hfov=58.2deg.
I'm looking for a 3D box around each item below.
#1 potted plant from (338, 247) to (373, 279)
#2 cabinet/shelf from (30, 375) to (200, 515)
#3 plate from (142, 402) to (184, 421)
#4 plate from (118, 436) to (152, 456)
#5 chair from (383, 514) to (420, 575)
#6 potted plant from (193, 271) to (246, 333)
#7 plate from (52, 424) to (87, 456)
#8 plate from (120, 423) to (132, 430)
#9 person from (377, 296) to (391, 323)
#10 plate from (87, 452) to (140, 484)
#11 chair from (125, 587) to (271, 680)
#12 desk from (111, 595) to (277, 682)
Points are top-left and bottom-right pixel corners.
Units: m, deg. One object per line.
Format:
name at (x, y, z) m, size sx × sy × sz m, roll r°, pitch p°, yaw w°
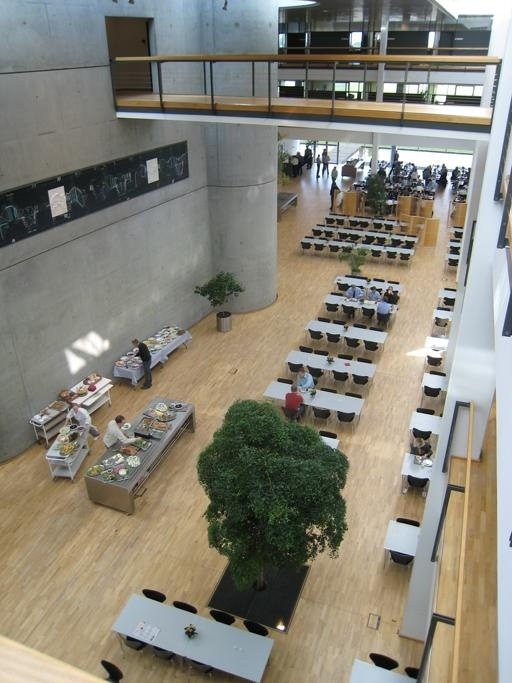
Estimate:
potted plant at (3.967, -3.042, 18.198) m, size 1.155 × 1.220 × 0.992 m, roll 8°, pitch 43°, yaw 14°
cabinet/shelf at (-2.542, 2.082, 9.403) m, size 2.041 × 1.005 × 2.183 m, roll 14°, pitch 42°, yaw 14°
plate at (-2.040, 1.551, 10.149) m, size 0.469 × 0.108 × 0.507 m, roll 9°, pitch 30°, yaw 13°
plate at (-2.436, 2.106, 9.234) m, size 0.436 × 0.124 × 0.602 m, roll 18°, pitch 35°, yaw 35°
chair at (2.508, 3.402, 7.930) m, size 0.728 × 0.898 × 0.826 m, roll 8°, pitch 59°, yaw 12°
potted plant at (-1.050, -1.273, 14.355) m, size 1.361 × 1.938 × 1.736 m, roll -16°, pitch 32°, yaw -23°
plate at (-3.877, 2.044, 9.579) m, size 0.431 × 0.205 × 0.679 m, roll 3°, pitch 41°, yaw -2°
plate at (-2.687, 1.799, 9.615) m, size 0.131 × 0.029 × 0.135 m, roll -17°, pitch 34°, yaw -33°
person at (4.089, -0.964, 14.566) m, size 0.380 × 0.980 × 0.557 m, roll 10°, pitch 52°, yaw 12°
plate at (-2.662, 2.409, 8.770) m, size 0.512 × 0.138 × 0.584 m, roll 8°, pitch 32°, yaw 10°
chair at (-0.792, 4.002, 6.226) m, size 2.248 × 0.569 × 0.750 m, roll 17°, pitch 58°, yaw 16°
desk at (-0.798, 4.284, 6.634) m, size 2.332 × 0.600 × 0.784 m, roll 17°, pitch 52°, yaw 19°
